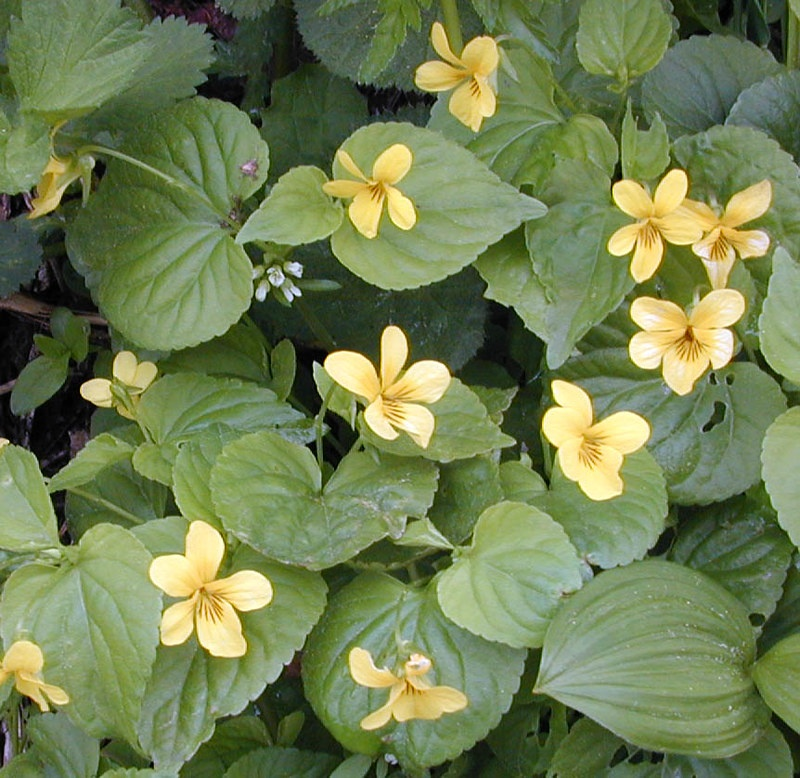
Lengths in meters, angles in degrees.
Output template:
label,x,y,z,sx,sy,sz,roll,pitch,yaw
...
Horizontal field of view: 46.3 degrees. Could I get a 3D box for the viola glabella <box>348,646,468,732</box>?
label,x,y,z,sx,sy,sz,roll,pitch,yaw
viola glabella,0.002,0.505,1.542,0.069,0.155,0.192,-43,-67,5
